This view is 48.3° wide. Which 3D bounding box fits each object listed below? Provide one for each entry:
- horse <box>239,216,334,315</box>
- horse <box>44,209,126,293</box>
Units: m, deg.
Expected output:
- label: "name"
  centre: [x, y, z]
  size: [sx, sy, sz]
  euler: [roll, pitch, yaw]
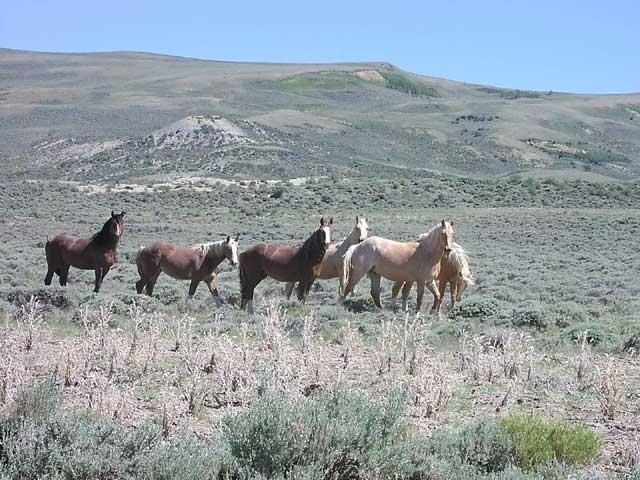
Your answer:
- label: "horse"
  centre: [-0.915, 0.807, 19.274]
  size: [3.201, 2.499, 0.857]
  euler: [-3, 2, 31]
- label: "horse"
  centre: [-6.633, 0.467, 20.251]
  size: [2.996, 2.215, 0.852]
  euler: [-1, 4, 22]
